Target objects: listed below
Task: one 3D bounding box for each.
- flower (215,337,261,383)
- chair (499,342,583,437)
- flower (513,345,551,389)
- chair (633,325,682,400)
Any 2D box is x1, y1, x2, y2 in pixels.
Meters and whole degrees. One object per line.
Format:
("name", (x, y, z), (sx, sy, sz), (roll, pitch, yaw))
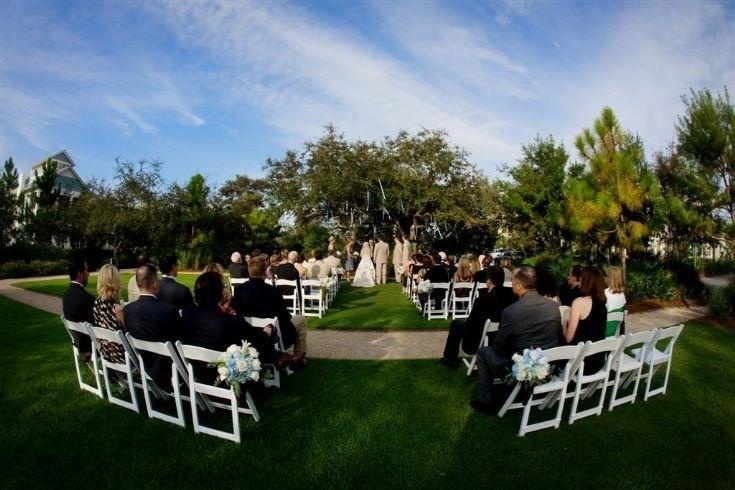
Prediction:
("flower", (-1.809, 1.616, 6.228), (0.531, 0.577, 0.254), (2, -7, -27))
("chair", (2.707, 2.146, 6.878), (0.947, 1.117, 0.823), (12, 4, -41))
("flower", (2.326, 1.720, 6.506), (0.528, 0.540, 0.472), (-37, -17, 15))
("chair", (4.907, 1.931, 7.767), (0.776, 1.207, 0.918), (3, 5, 0))
